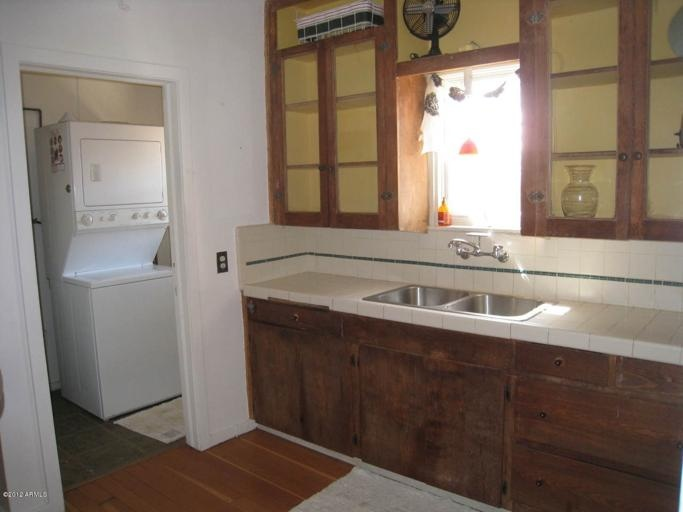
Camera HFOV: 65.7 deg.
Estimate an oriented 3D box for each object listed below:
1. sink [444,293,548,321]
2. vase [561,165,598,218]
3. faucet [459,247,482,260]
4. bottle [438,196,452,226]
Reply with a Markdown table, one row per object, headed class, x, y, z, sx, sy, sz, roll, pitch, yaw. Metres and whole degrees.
| class | x | y | z | sx | sy | sz | roll | pitch | yaw |
| --- | --- | --- | --- | --- | --- | --- | --- | --- | --- |
| sink | 0.930 | 0.299 | 3.185 | 0.291 | 0.110 | 0.247 | 7 | 12 | 43 |
| vase | 1.248 | -0.329 | 2.765 | 0.179 | 0.276 | 0.174 | 2 | 1 | 31 |
| faucet | 0.764 | -0.017 | 3.192 | 0.064 | 0.060 | 0.106 | -5 | 4 | -35 |
| bottle | 0.672 | -0.287 | 3.441 | 0.097 | 0.187 | 0.080 | -10 | 16 | -30 |
